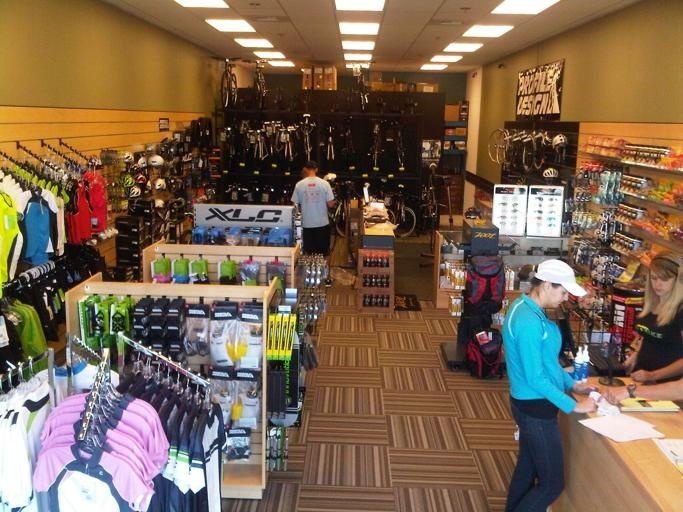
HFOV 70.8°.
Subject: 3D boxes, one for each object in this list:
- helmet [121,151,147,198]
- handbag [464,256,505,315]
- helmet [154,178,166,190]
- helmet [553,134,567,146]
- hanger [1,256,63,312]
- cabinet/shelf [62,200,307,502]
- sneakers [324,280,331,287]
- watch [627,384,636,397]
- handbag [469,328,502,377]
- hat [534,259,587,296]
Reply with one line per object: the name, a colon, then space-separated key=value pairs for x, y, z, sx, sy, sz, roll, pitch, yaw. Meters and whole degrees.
helmet: x=-3.319 y=-1.284 z=7.644 sx=0.206 sy=0.684 sz=0.458 roll=-6 pitch=-11 yaw=37
handbag: x=1.680 y=0.340 z=5.633 sx=0.430 sy=0.680 sz=0.347 roll=-3 pitch=20 yaw=3
helmet: x=-3.161 y=-1.232 z=8.380 sx=0.129 sy=0.178 sz=0.151 roll=-4 pitch=50 yaw=-7
helmet: x=3.875 y=-2.059 z=8.522 sx=0.186 sy=0.199 sz=0.393 roll=1 pitch=16 yaw=1
hanger: x=-3.434 y=0.340 z=5.392 sx=0.399 sy=0.133 sz=0.418 roll=12 pitch=22 yaw=31
cabinet/shelf: x=-1.081 y=0.831 z=4.295 sx=1.312 sy=1.288 sz=2.514 roll=2 pitch=14 yaw=0
sneakers: x=-0.239 y=0.477 z=8.439 sx=0.100 sy=0.130 sz=0.302 roll=-1 pitch=-2 yaw=-3
watch: x=1.996 y=0.930 z=3.297 sx=0.049 sy=0.084 sz=0.079 roll=1 pitch=-1 yaw=8
handbag: x=1.723 y=1.175 z=5.779 sx=0.434 sy=0.622 sz=0.346 roll=-3 pitch=13 yaw=-14
hat: x=1.473 y=0.145 z=3.197 sx=0.290 sy=0.164 sz=0.197 roll=16 pitch=14 yaw=9
